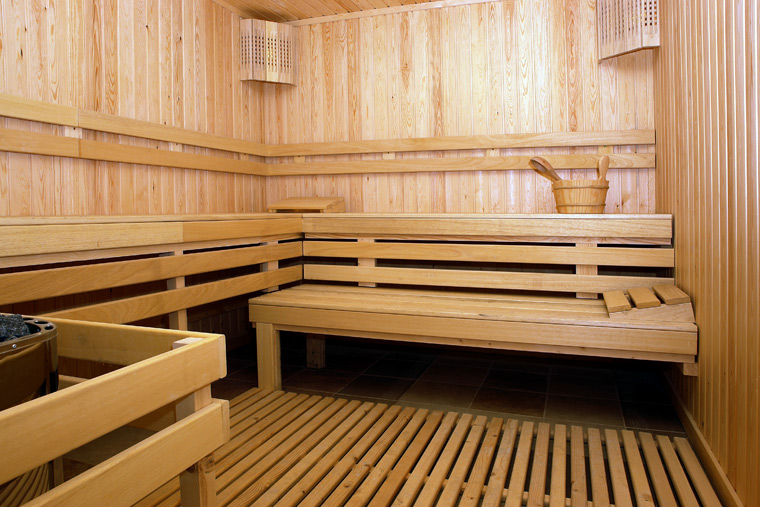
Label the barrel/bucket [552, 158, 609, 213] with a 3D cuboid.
[{"bbox_3d":[1.165,-0.358,3.084,0.385,0.311,0.334,2,1,31],"label":"barrel/bucket"}]

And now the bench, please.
[{"bbox_3d":[0.448,0.255,2.925,2.276,0.756,0.773,1,18,14],"label":"bench"}]
